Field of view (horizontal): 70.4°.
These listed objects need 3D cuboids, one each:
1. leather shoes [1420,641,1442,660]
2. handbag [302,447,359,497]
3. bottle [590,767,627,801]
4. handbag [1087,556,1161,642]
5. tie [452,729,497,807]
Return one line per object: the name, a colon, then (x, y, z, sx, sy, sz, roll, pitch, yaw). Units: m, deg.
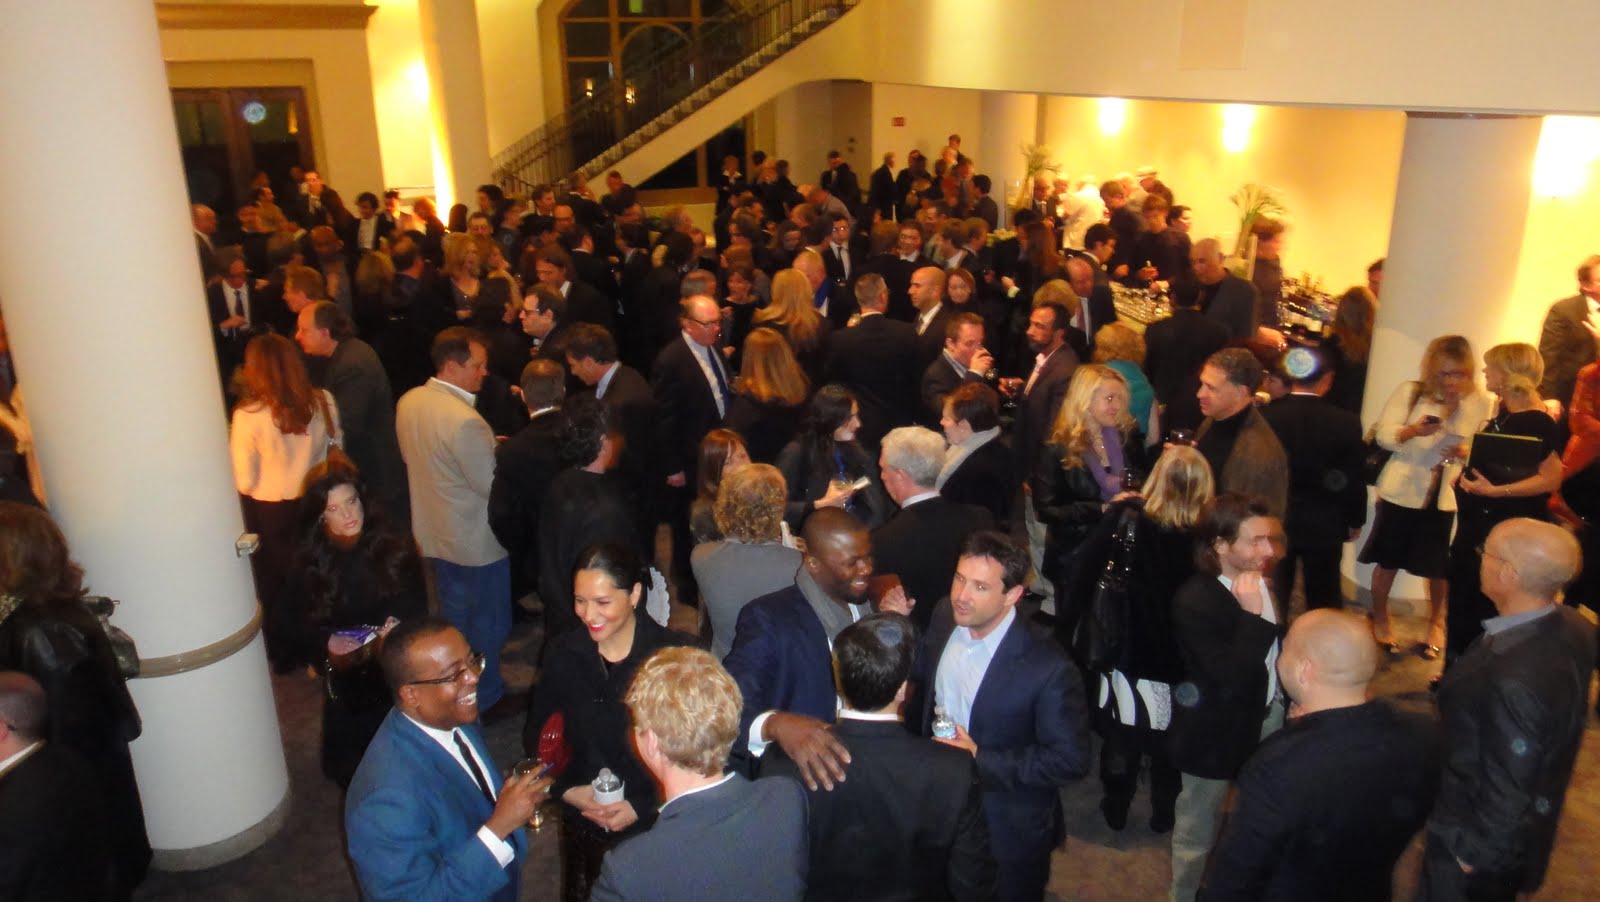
leather shoes: (4.365, 1.367, 7.835, 0.124, 0.042, 0.093, -25, 30, -15)
handbag: (-2.685, 0.112, 6.540, 0.269, 0.276, 0.356, -5, -12, -18)
bottle: (-0.869, 1.523, 5.222, 0.167, 0.146, 0.159, -2, 18, 9)
handbag: (1.755, 0.808, 6.416, 0.539, 0.650, 0.384, 0, -7, 15)
tie: (-1.521, 1.465, 5.290, 0.154, 0.382, 0.080, 3, 19, 14)
